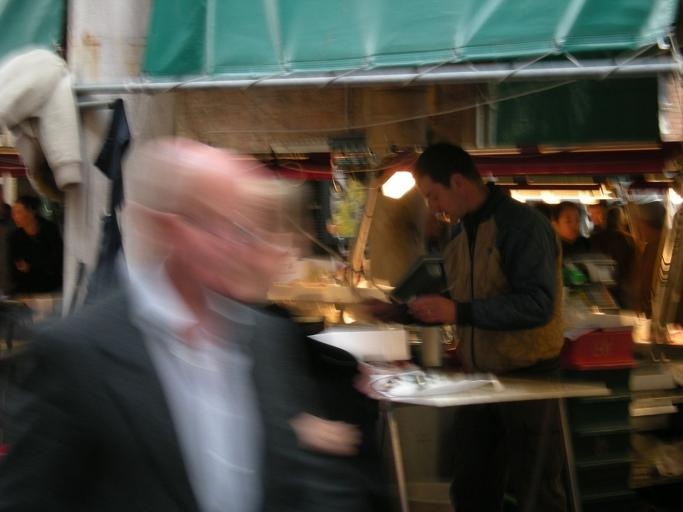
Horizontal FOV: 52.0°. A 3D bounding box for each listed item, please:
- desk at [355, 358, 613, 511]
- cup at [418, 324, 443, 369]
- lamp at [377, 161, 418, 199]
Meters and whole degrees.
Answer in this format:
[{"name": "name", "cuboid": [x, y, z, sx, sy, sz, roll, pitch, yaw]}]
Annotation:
[{"name": "desk", "cuboid": [0.609, 0.807, 3.051, 0.767, 0.507, 0.399, 6, -22, -21]}, {"name": "cup", "cuboid": [0.441, 0.469, 3.443, 0.124, 0.179, 0.115, 0, 16, 0]}, {"name": "lamp", "cuboid": [0.337, -0.481, 4.379, 0.184, 0.047, 0.278, 13, -4, -1]}]
